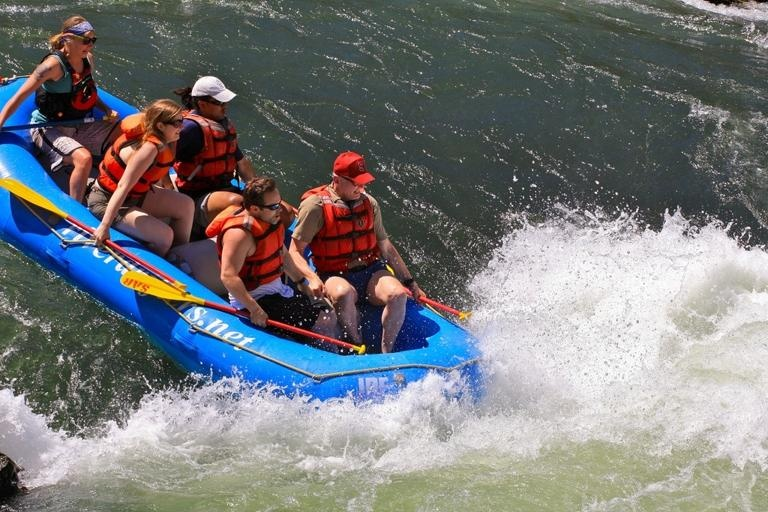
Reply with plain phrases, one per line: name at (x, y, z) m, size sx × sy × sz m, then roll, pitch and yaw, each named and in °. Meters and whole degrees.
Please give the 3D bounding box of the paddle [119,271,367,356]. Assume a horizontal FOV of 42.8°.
paddle at (-1.425, 0.582, 10.144) m, size 2.035 × 0.234 × 0.152 m, roll 18°, pitch 40°, yaw 4°

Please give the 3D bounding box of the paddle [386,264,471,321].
paddle at (0.490, 0.429, 11.049) m, size 0.948 × 0.212 × 0.166 m, roll 27°, pitch 57°, yaw 26°

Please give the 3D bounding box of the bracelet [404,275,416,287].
bracelet at (0.284, 0.273, 10.630) m, size 0.117 × 0.075 × 0.123 m, roll -23°, pitch -5°, yaw 15°

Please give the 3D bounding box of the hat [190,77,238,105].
hat at (-1.860, -1.825, 10.683) m, size 0.435 × 0.182 × 0.288 m, roll 7°, pitch 22°, yaw 1°

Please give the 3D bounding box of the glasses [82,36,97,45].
glasses at (-3.322, -2.400, 10.997) m, size 0.104 × 0.044 × 0.109 m, roll -11°, pitch 33°, yaw -38°

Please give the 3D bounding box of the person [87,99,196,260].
person at (-2.577, -0.763, 10.526) m, size 0.927 × 1.440 × 0.912 m, roll 13°, pitch 42°, yaw -21°

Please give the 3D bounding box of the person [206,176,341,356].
person at (-1.146, 0.001, 9.978) m, size 1.322 × 1.491 × 0.675 m, roll 3°, pitch 30°, yaw -11°
